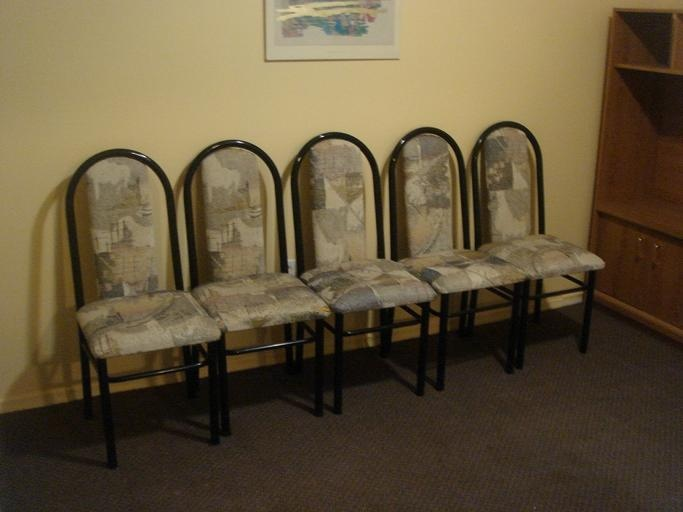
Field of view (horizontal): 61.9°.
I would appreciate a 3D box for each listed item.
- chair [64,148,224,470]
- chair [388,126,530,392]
[{"bbox_3d":[-0.849,0.180,2.388,0.559,1.255,0.632,-10,12,-25],"label":"chair"},{"bbox_3d":[0.560,-0.026,2.858,0.572,1.198,0.598,-9,19,-26],"label":"chair"}]
